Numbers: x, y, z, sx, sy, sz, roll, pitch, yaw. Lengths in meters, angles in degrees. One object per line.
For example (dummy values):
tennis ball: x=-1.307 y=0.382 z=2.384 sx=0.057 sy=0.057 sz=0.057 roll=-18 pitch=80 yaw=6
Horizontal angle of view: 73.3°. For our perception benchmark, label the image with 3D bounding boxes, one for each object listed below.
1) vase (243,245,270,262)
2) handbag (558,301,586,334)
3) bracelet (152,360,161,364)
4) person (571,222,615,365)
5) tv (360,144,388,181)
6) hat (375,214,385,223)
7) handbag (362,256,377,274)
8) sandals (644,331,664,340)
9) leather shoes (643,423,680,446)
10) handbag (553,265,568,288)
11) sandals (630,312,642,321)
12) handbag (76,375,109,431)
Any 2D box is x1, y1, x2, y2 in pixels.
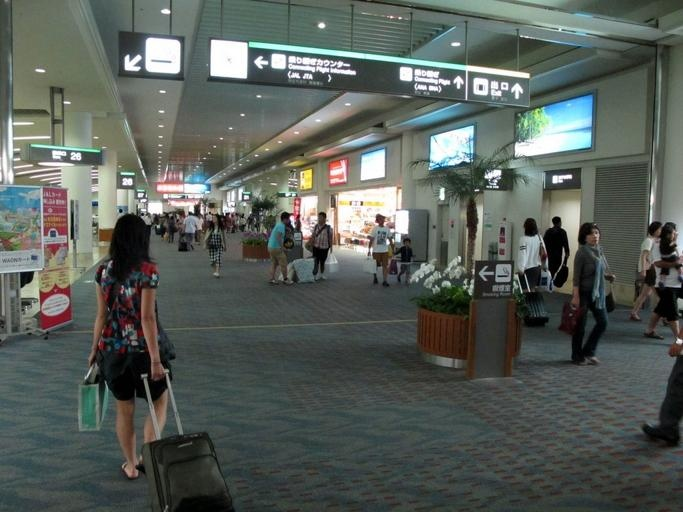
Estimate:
vase: x=-3.422 y=-0.167 z=18.439 sx=0.969 sy=0.530 sz=0.644 roll=1 pitch=3 yaw=-8
handbag: x=2.940 y=0.783 z=5.909 sx=0.245 sy=0.372 sz=0.200 roll=3 pitch=4 yaw=26
bracelet: x=-1.261 y=0.715 z=3.117 sx=0.059 sy=0.029 sz=0.023 roll=2 pitch=4 yaw=13
person: x=3.225 y=0.524 z=6.046 sx=0.667 sy=1.858 sz=0.350 roll=-1 pitch=4 yaw=-28
tv: x=1.421 y=-4.321 z=21.931 sx=0.229 sy=1.547 sz=2.421 roll=-4 pitch=6 yaw=-36
hat: x=1.037 y=-1.017 z=12.255 sx=0.237 sy=0.126 sz=0.236 roll=0 pitch=3 yaw=4
handbag: x=0.828 y=0.254 z=13.391 sx=0.178 sy=0.517 sz=0.534 roll=-7 pitch=10 yaw=-29
sandals: x=5.137 y=1.301 z=7.588 sx=0.299 sy=0.127 sz=0.101 roll=-1 pitch=3 yaw=-5
leather shoes: x=2.849 y=1.575 z=4.157 sx=0.116 sy=0.135 sz=0.315 roll=-8 pitch=19 yaw=-40
handbag: x=5.042 y=0.446 z=10.593 sx=0.279 sy=0.496 sz=0.682 roll=3 pitch=5 yaw=24
sandals: x=5.688 y=1.177 z=8.948 sx=0.117 sy=0.156 sz=0.347 roll=-3 pitch=-5 yaw=1
handbag: x=-1.728 y=1.078 z=3.289 sx=0.133 sy=0.350 sz=0.358 roll=0 pitch=-26 yaw=-28
